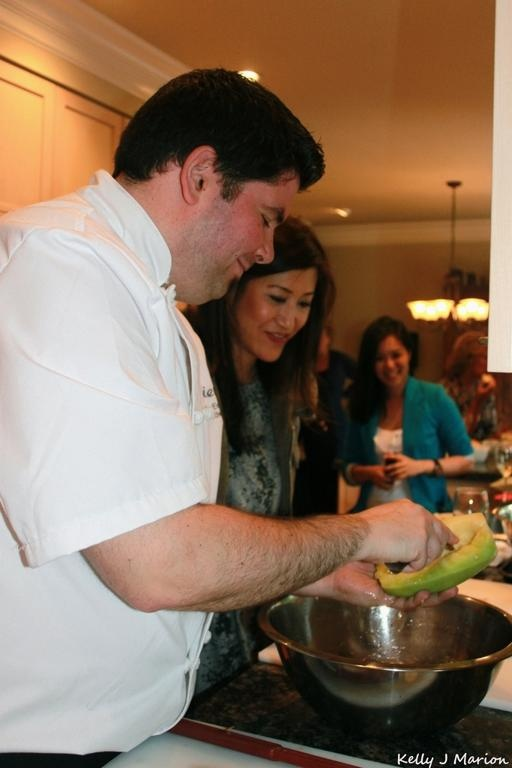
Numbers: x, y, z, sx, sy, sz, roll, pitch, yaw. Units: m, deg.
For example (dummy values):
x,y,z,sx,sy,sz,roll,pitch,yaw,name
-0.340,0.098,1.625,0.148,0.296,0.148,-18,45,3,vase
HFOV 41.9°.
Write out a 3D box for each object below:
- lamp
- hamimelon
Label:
x,y,z,sx,sy,sz,roll,pitch,yaw,name
0.308,-0.211,1.109,0.116,0.224,0.109,0,8,2,lamp
0.246,0.235,0.895,0.162,0.058,0.112,-24,20,15,hamimelon
